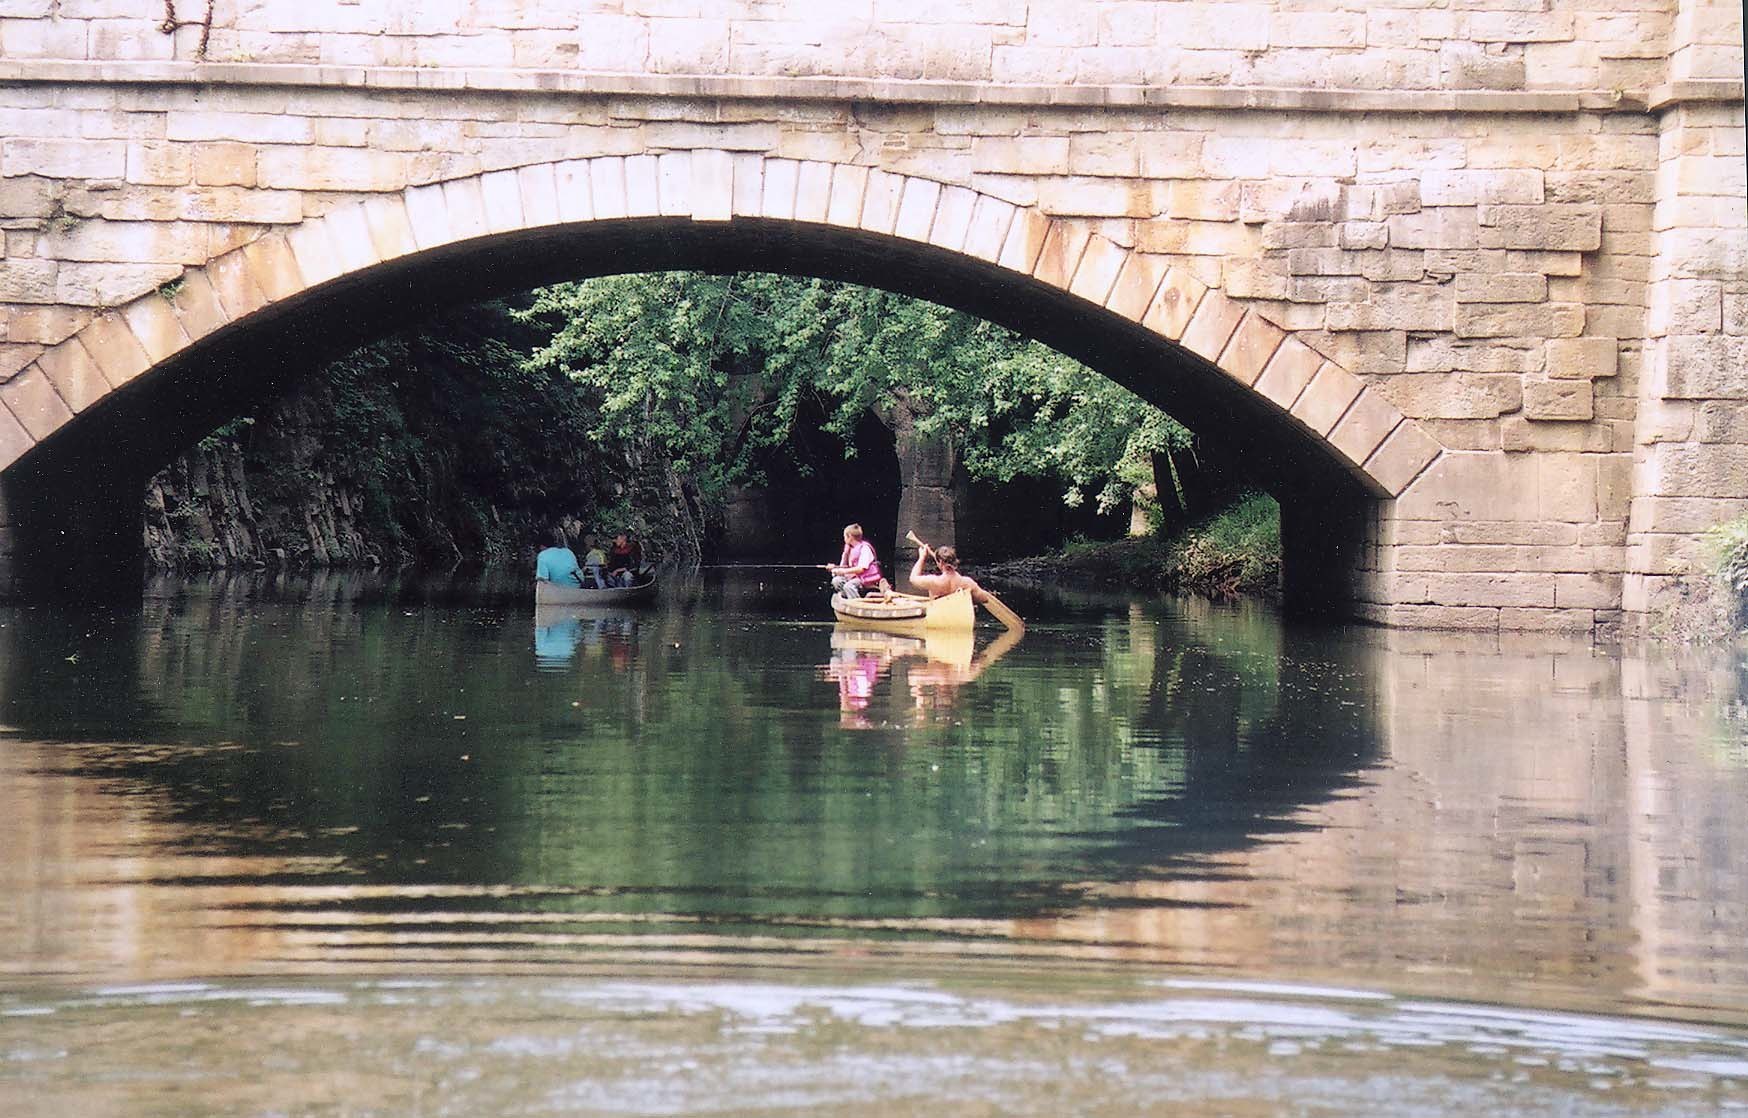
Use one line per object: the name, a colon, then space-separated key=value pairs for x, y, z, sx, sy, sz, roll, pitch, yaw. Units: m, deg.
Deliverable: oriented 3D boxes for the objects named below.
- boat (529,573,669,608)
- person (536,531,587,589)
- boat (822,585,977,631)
boat: x=-3.571 y=0.450 z=37.044 sx=0.509 sy=0.357 sz=1.973 roll=-4 pitch=-5 yaw=40
person: x=-4.688 y=0.024 z=41.754 sx=0.822 sy=0.736 sz=1.312 roll=0 pitch=-36 yaw=-5
boat: x=0.504 y=0.587 z=33.194 sx=0.597 sy=0.330 sz=1.782 roll=4 pitch=-1 yaw=-38
